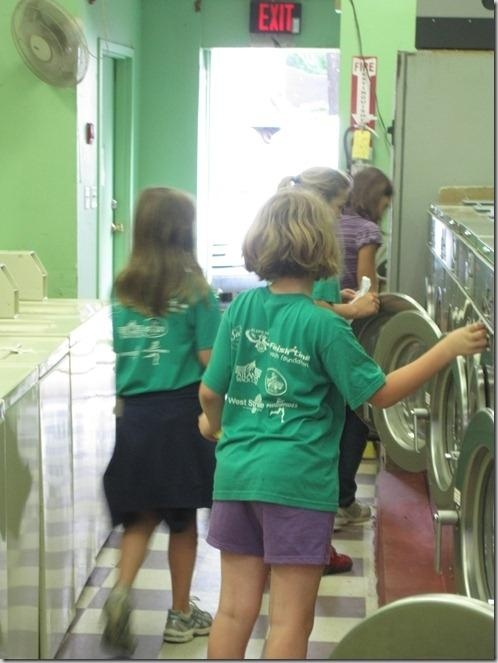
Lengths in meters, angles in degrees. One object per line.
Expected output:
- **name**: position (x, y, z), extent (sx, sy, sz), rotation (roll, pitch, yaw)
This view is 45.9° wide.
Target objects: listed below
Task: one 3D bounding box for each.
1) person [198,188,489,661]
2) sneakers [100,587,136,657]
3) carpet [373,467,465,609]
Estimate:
- **person**: position (0.118, 0.178, 1.059), extent (0.453, 0.856, 0.254), rotation (-2, 10, 6)
- **sneakers**: position (-0.303, 0.674, 1.364), extent (0.055, 0.185, 0.092), rotation (-1, 8, -25)
- **carpet**: position (0.463, 0.596, 1.697), extent (0.122, 0.195, 0.470), rotation (-7, 8, 16)
